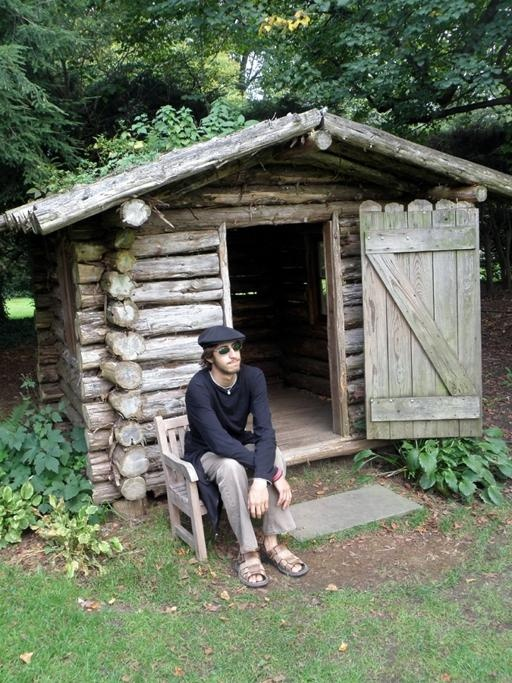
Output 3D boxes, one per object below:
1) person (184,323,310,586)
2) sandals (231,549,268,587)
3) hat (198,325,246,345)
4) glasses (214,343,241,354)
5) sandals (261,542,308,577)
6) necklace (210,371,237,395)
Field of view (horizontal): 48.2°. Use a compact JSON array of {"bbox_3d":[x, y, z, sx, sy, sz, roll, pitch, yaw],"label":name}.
[{"bbox_3d":[-0.087,0.697,3.784,0.749,1.589,0.803,-2,10,-9],"label":"person"},{"bbox_3d":[-0.027,1.424,3.619,0.150,0.143,0.222,-3,9,-15],"label":"sandals"},{"bbox_3d":[-0.252,-0.047,4.011,0.277,0.091,0.281,-6,7,-8],"label":"hat"},{"bbox_3d":[-0.158,0.039,3.779,0.070,0.072,0.214,7,11,41],"label":"glasses"},{"bbox_3d":[0.182,1.412,3.808,0.133,0.101,0.329,-16,18,-35],"label":"sandals"},{"bbox_3d":[-0.215,0.273,3.857,0.142,0.089,0.185,-6,10,-22],"label":"necklace"}]
